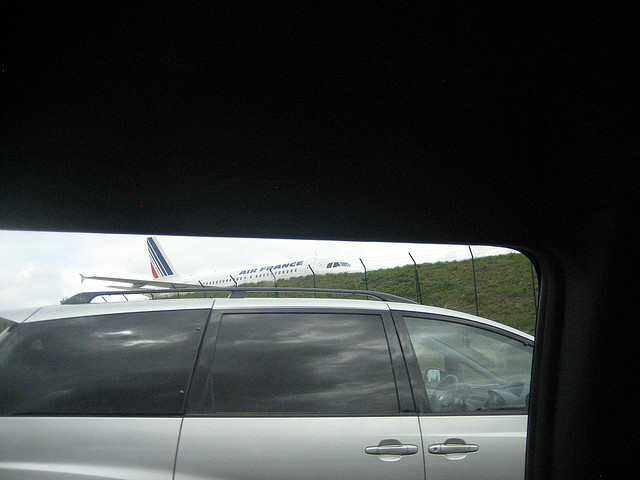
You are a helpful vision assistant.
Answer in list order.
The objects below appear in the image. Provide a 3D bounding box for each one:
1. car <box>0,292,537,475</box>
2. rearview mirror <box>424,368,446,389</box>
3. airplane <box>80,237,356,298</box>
[{"bbox_3d":[-0.182,0.920,3.394,3.170,1.007,1.491,-1,-7,2],"label":"car"},{"bbox_3d":[0.784,0.956,3.505,0.154,0.125,0.020,4,-10,-23],"label":"rearview mirror"},{"bbox_3d":[-2.882,1.361,20.864,5.759,1.955,5.561,-11,-8,7],"label":"airplane"}]
